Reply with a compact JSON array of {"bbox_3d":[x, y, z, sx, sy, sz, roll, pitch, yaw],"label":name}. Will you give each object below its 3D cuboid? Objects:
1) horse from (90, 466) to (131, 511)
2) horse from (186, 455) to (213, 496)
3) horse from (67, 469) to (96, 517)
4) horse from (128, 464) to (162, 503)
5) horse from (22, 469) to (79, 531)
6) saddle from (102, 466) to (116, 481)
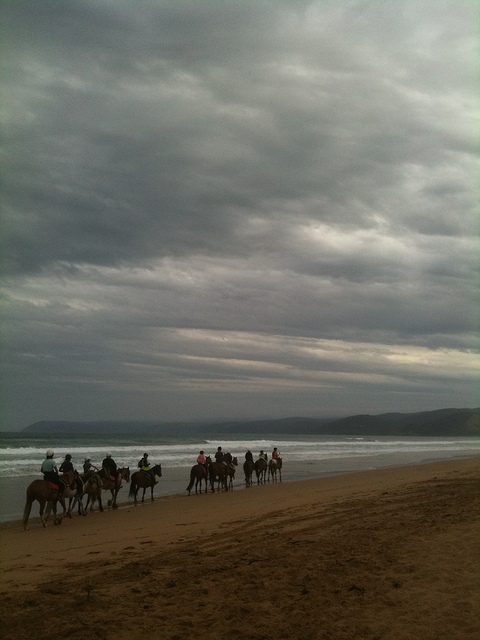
[{"bbox_3d":[-5.158,6.495,23.081,0.471,1.585,2.153,-11,-17,33],"label":"horse"},{"bbox_3d":[-1.891,7.258,27.537,1.032,1.582,2.781,2,-10,-4],"label":"horse"},{"bbox_3d":[-5.290,5.988,20.401,1.589,1.064,0.370,2,-29,31],"label":"horse"},{"bbox_3d":[-4.046,6.948,25.024,1.238,1.313,3.992,2,-10,-8],"label":"horse"},{"bbox_3d":[-6.037,5.639,18.717,0.633,1.717,2.540,-9,-16,21],"label":"horse"},{"bbox_3d":[-5.068,5.929,22.696,0.280,0.537,0.874,-2,-10,17],"label":"saddle"}]
